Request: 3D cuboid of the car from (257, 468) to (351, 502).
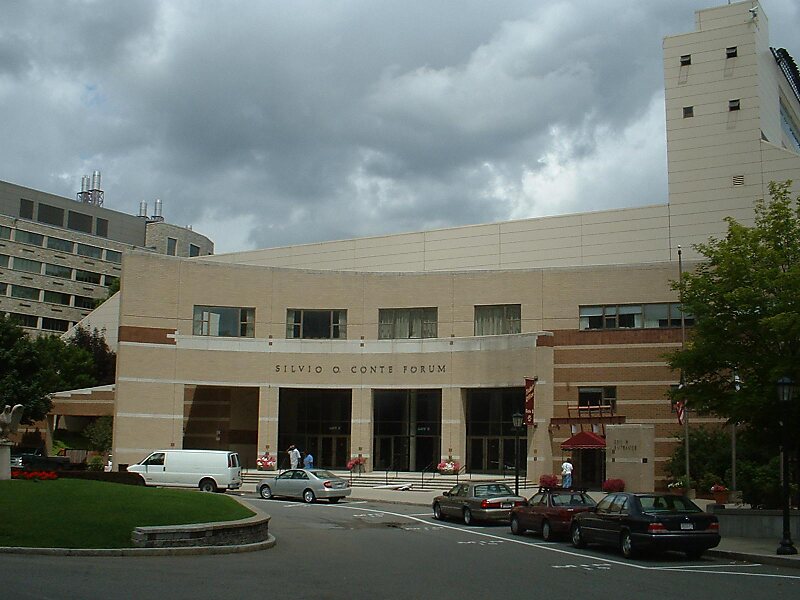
[{"bbox_3d":[-4.883,9.214,46.528,4.583,1.165,1.773,0,-7,25],"label":"car"}]
